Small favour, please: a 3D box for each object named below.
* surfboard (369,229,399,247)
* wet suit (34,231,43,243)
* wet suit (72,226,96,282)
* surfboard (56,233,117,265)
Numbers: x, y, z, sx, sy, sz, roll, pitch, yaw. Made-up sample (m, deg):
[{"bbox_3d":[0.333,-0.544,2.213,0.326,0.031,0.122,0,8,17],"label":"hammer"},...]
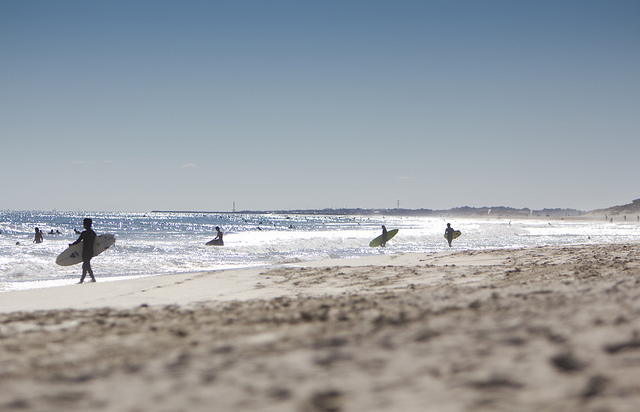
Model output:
[{"bbox_3d":[2.838,1.354,35.089,0.166,0.407,2.416,1,16,40],"label":"surfboard"},{"bbox_3d":[-12.764,1.400,36.398,0.251,0.513,0.945,-2,-2,-19],"label":"wet suit"},{"bbox_3d":[-5.662,1.148,19.370,0.486,1.310,1.203,-2,-2,-16],"label":"wet suit"},{"bbox_3d":[-5.960,1.127,20.322,2.020,0.517,0.188,-18,13,3],"label":"surfboard"}]
